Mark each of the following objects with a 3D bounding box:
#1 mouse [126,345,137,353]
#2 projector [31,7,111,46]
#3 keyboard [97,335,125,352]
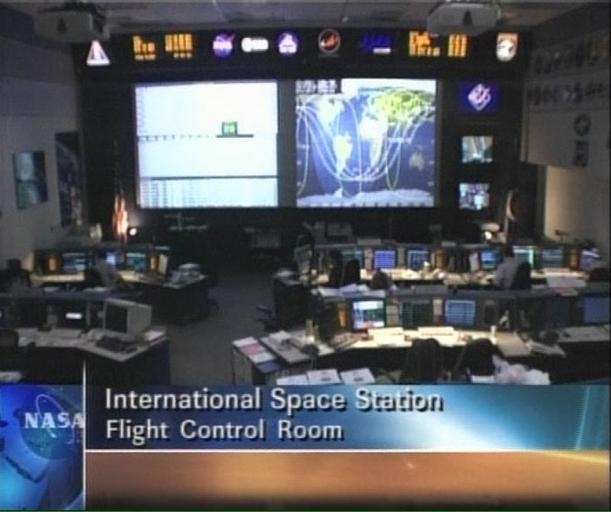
[{"bbox_3d":[-1.822,0.967,6.082,0.061,0.037,0.100,1,10,-10],"label":"mouse"},{"bbox_3d":[-2.572,-2.507,6.298,0.567,0.210,0.431,-1,0,-1],"label":"projector"},{"bbox_3d":[-2.038,0.920,6.130,0.396,0.120,0.159,1,3,32],"label":"keyboard"}]
